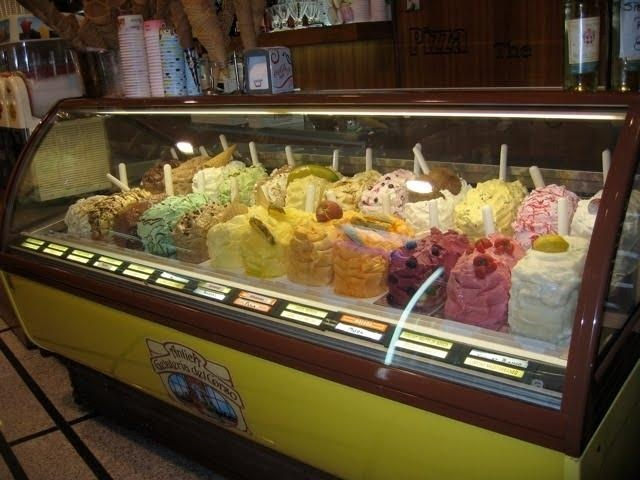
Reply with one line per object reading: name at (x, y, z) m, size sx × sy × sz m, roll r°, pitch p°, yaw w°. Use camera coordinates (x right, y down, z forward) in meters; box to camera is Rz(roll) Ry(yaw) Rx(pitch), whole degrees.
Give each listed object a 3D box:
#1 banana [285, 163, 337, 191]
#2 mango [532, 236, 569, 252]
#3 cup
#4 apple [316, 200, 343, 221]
banana at (-0.036, -0.242, 1.717) m, size 0.138 × 0.048 × 0.105 m, roll 2°, pitch 30°, yaw 23°
mango at (0.533, 0.009, 1.020) m, size 0.057 × 0.032 × 0.041 m, roll 0°, pitch -6°, yaw 30°
cup at (-0.735, -0.802, 1.899) m, size 0.162 × 0.331 × 0.441 m, roll -21°, pitch 29°, yaw -40°
apple at (0.036, -0.104, 1.437) m, size 0.071 × 0.065 × 0.072 m, roll -15°, pitch 29°, yaw -39°
